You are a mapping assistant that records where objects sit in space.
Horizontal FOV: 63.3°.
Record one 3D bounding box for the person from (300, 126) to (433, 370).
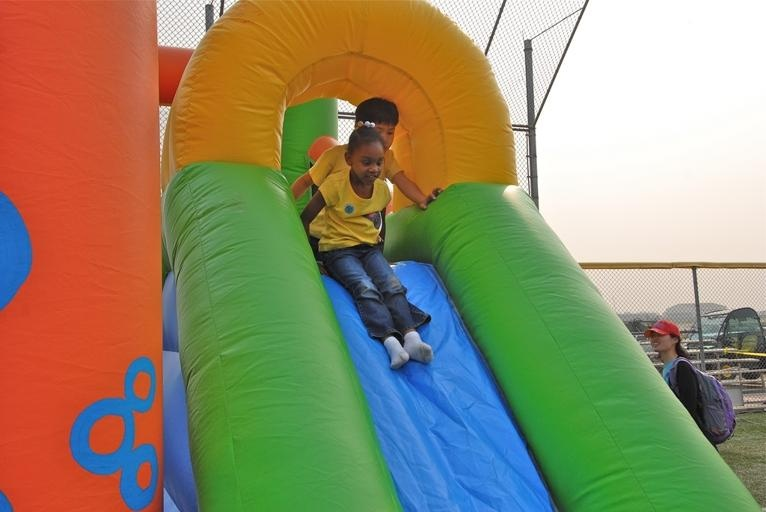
[{"bbox_3d":[-0.073,-0.028,3.245,0.456,1.244,0.773,-10,-38,-29],"label":"person"}]
